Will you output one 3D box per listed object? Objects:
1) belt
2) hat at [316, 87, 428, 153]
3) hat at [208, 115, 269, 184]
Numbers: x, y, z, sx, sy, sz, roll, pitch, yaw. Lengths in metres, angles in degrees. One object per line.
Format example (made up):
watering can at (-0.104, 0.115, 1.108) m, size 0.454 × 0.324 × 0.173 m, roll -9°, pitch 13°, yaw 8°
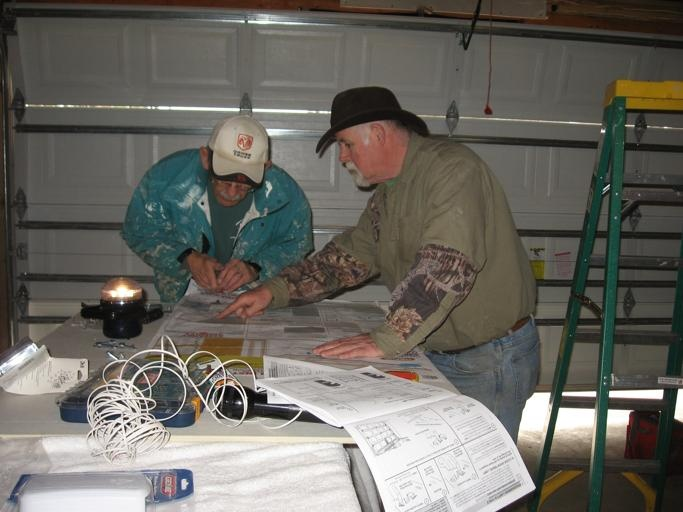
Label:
belt at (0.686, 0.399, 2.973) m, size 0.271 × 0.068 × 0.244 m, roll -24°, pitch 6°, yaw -2°
hat at (0.179, -0.688, 3.017) m, size 0.380 × 0.189 × 0.313 m, roll -9°, pitch 4°, yaw -18°
hat at (-0.603, -0.609, 3.647) m, size 0.296 × 0.219 × 0.420 m, roll 8°, pitch 44°, yaw -26°
